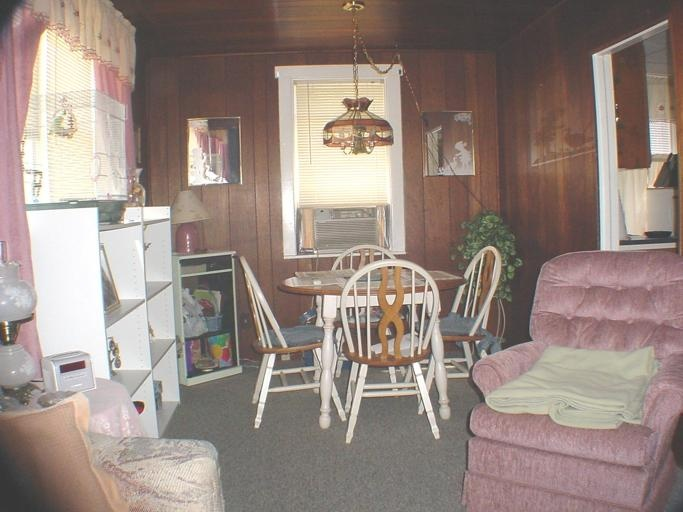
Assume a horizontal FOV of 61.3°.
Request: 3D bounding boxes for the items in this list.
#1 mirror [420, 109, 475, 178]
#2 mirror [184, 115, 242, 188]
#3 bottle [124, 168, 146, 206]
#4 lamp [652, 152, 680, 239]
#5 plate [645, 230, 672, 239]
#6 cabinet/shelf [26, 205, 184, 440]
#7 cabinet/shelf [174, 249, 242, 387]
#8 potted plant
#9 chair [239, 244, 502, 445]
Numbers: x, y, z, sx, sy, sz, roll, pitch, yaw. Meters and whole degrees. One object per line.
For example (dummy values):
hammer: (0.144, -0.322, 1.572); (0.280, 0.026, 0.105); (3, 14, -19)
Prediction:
mirror: (0.907, -1.010, 5.095); (0.567, 0.684, 0.033); (-1, -1, -11)
mirror: (-1.120, -0.924, 4.944); (0.571, 0.708, 0.028); (-1, 1, -2)
bottle: (-1.296, -0.432, 3.656); (0.101, 0.265, 0.104); (4, 7, 0)
lamp: (2.246, -0.413, 4.006); (0.152, 0.619, 1.774); (4, 12, 28)
plate: (2.299, -0.150, 4.186); (0.171, 0.045, 0.253); (4, 12, 26)
cabinet/shelf: (-1.358, 0.466, 3.517); (0.398, 1.428, 1.421); (-2, 6, -2)
cabinet/shelf: (-1.103, 0.544, 4.667); (0.501, 0.888, 0.381); (-6, 2, -30)
potted plant: (1.173, -0.017, 5.219); (0.690, 0.966, 0.687); (0, 2, -13)
chair: (0.236, 0.458, 4.020); (1.362, 0.953, 1.338); (-2, 3, -20)
